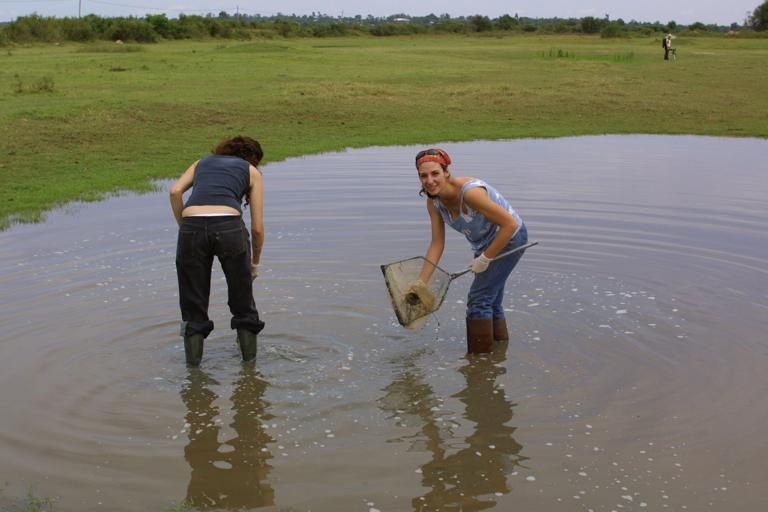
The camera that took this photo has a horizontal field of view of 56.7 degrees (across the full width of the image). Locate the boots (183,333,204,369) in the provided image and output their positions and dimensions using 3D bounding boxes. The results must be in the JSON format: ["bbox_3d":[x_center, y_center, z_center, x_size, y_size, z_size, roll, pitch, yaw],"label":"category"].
[{"bbox_3d":[-2.237,1.117,8.386,0.229,0.556,0.207,-11,34,-24],"label":"boots"}]

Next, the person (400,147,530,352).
[{"bbox_3d":[1.010,-0.021,8.503,1.304,2.580,0.754,4,23,8],"label":"person"}]
